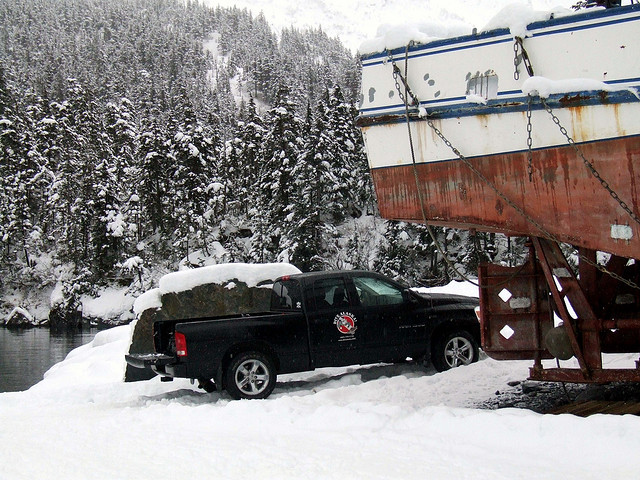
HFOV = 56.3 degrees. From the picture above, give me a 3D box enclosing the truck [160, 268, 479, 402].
[{"bbox_3d":[-0.217,1.778,10.944,5.092,2.021,2.462,-8,1,-21],"label":"truck"}]
